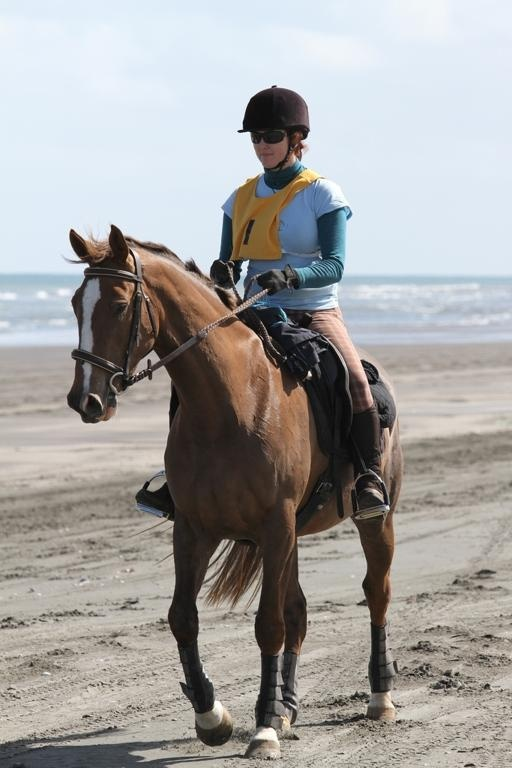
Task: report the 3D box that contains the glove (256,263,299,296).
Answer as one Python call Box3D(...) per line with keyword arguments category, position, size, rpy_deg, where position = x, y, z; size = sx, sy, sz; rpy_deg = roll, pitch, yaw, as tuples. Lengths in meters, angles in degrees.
Box3D(category="glove", position=(0.104, -0.513, 4.979), size=(0.171, 0.083, 0.118), rpy_deg=(-2, 47, 8))

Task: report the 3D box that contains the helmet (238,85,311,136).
Box3D(category="helmet", position=(0.123, -1.476, 5.537), size=(0.469, 0.231, 0.343), rpy_deg=(-5, 14, -31))

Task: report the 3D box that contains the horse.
Box3D(category="horse", position=(-0.032, 0.530, 4.919), size=(0.883, 2.463, 1.944), rpy_deg=(4, 6, 32))
